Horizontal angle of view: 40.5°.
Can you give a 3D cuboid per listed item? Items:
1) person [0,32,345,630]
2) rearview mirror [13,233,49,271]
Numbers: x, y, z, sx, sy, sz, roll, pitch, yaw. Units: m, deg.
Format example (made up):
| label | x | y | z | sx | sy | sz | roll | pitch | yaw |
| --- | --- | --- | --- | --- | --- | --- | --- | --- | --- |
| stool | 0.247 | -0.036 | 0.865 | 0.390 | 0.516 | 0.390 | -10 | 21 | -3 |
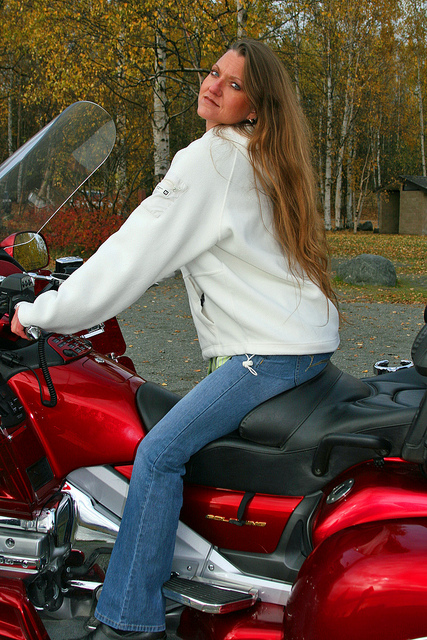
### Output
| label | x | y | z | sx | sy | sz | roll | pitch | yaw |
| --- | --- | --- | --- | --- | --- | --- | --- | --- | --- |
| person | -0.039 | -0.019 | 1.742 | 0.910 | 1.673 | 0.517 | -10 | 17 | -38 |
| rearview mirror | -0.667 | -0.249 | 2.090 | 0.161 | 0.143 | 0.009 | -10 | 19 | -27 |
